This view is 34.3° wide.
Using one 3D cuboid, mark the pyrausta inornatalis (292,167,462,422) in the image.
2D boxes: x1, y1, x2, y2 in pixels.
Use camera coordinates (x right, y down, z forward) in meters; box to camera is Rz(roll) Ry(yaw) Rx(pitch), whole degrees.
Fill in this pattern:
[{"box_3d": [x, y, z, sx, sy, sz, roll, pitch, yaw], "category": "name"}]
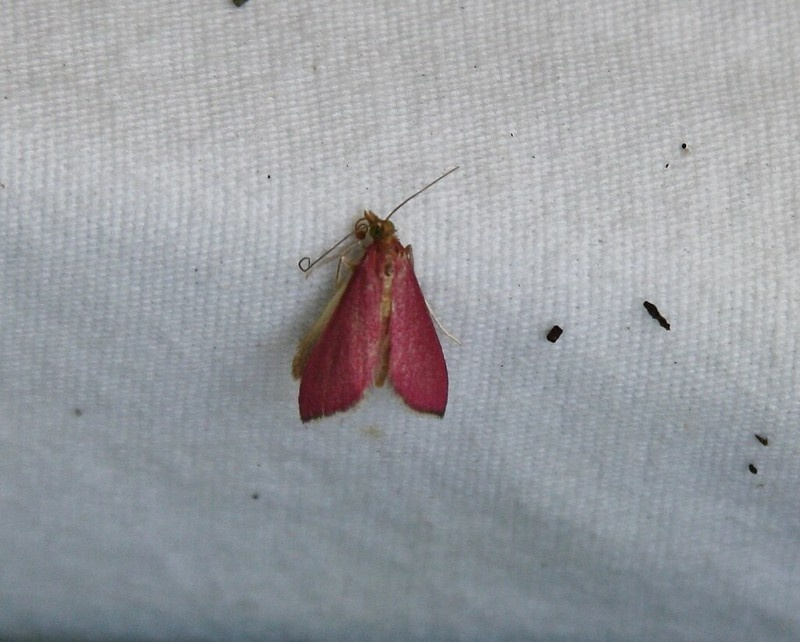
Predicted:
[{"box_3d": [-0.052, -0.036, 2.448, 0.278, 0.138, 0.433, -2, 88, -2], "category": "pyrausta inornatalis"}]
